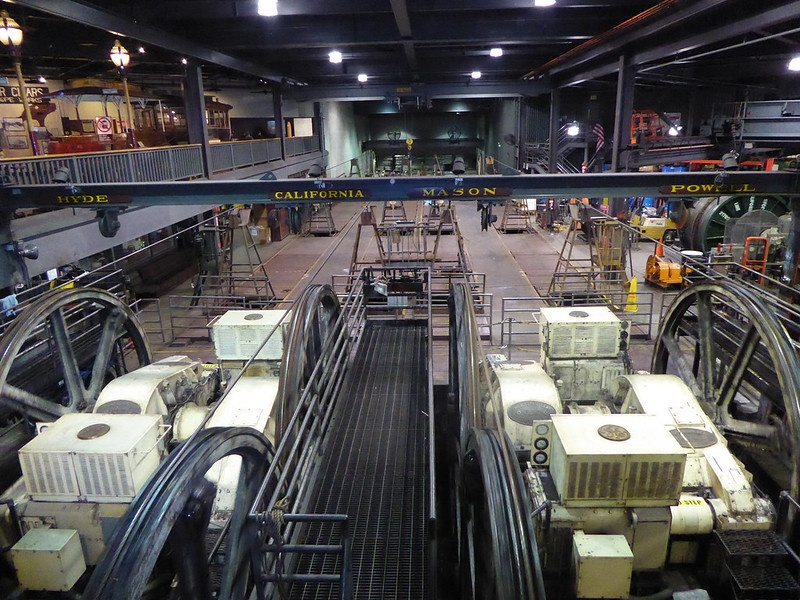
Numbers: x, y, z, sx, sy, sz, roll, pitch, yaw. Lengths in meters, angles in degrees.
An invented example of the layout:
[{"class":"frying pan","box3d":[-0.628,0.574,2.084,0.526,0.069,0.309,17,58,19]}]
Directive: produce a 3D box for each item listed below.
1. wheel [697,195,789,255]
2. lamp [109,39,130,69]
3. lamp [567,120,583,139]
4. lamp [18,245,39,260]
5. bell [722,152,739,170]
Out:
[{"class":"wheel","box3d":[15.113,-3.207,22.281,3.690,2.417,2.142,0,18,4]},{"class":"lamp","box3d":[-8.923,-7.861,16.586,0.401,0.889,0.968,-8,19,-20]},{"class":"lamp","box3d":[11.757,-11.557,35.257,0.980,0.755,0.937,-15,-1,11]},{"class":"lamp","box3d":[-9.494,-1.219,13.362,0.244,0.447,0.548,-2,18,-3]},{"class":"bell","box3d":[8.184,-3.436,12.899,0.284,0.398,1.287,9,20,29]}]
